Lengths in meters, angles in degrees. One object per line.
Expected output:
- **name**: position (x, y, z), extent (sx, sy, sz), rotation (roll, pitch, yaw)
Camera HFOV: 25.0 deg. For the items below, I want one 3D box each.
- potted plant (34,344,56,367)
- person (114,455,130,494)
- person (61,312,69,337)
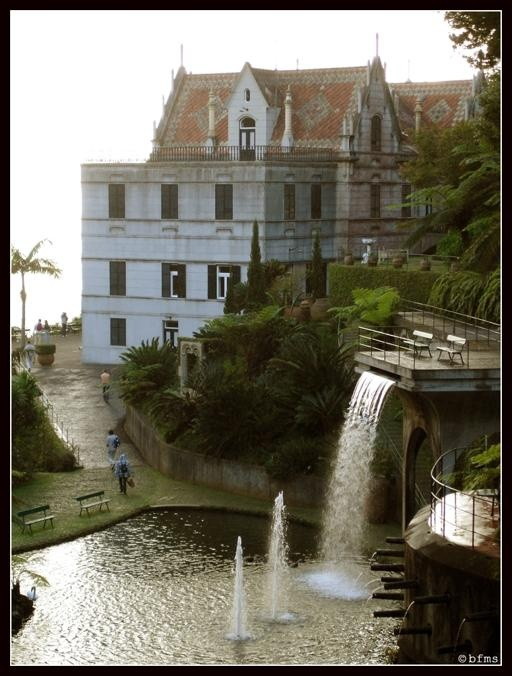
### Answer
- **potted plant**: position (-9.087, 0.743, 49.664), extent (0.723, 1.047, 0.829), rotation (0, 3, 18)
- **person**: position (-3.300, 3.289, 28.350), extent (0.341, 1.039, 0.880), rotation (-1, 6, -9)
- **person**: position (-9.847, -0.741, 58.927), extent (0.311, 1.273, 1.546), rotation (-1, 6, -10)
